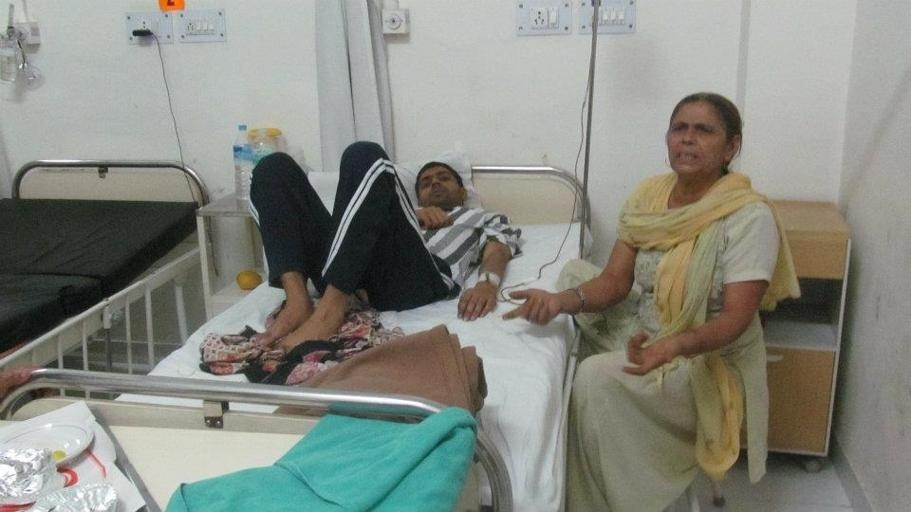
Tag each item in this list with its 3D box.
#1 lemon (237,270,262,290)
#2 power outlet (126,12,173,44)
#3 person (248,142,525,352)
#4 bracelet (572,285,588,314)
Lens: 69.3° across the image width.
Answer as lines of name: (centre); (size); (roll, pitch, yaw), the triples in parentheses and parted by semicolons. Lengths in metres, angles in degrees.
lemon: (-1.159, 0.135, 3.767); (0.152, 0.109, 0.101); (0, 62, -22)
power outlet: (-1.806, -1.370, 3.926); (0.210, 0.125, 0.022); (0, 7, 1)
person: (-0.342, -0.095, 3.233); (1.258, 0.857, 1.754); (6, 0, 28)
bracelet: (0.539, 0.184, 2.822); (0.067, 0.093, 0.102); (1, 14, 3)
